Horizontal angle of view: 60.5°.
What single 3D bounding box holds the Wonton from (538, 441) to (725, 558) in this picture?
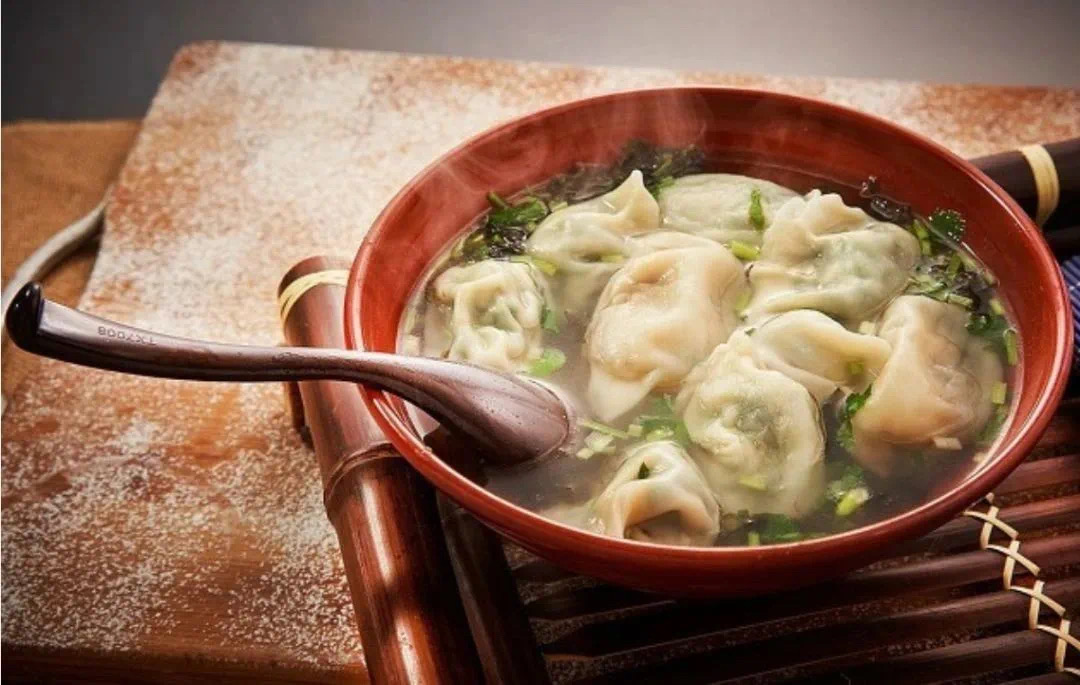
[{"bbox_3d":[0.253,0.336,1.988,0.256,0.256,0.110,-5,99,-27],"label":"Wonton"}]
